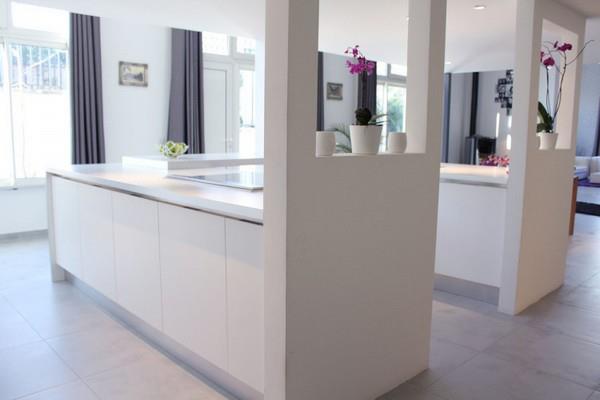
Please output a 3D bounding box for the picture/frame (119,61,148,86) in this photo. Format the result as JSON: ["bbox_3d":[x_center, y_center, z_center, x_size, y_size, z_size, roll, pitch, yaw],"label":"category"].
[{"bbox_3d":[-2.547,-1.932,6.265,0.390,0.334,0.031,0,24,-23],"label":"picture/frame"}]

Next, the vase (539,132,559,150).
[{"bbox_3d":[2.336,-0.552,3.902,0.190,0.157,0.204,2,6,13],"label":"vase"}]

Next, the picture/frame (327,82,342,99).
[{"bbox_3d":[0.701,-2.299,8.530,0.392,0.292,0.029,-3,6,-40],"label":"picture/frame"}]
